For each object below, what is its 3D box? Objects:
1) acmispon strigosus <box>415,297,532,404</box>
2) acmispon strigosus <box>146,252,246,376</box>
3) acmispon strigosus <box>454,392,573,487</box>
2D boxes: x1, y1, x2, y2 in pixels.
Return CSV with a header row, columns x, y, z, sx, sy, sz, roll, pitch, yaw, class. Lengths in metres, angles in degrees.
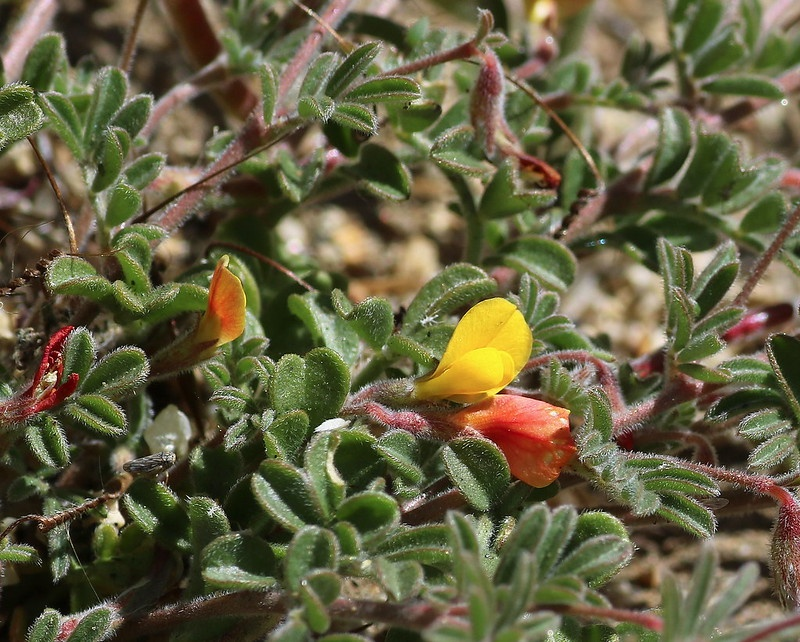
x,y,z,sx,sy,sz,roll,pitch,yaw,class
0.113,0.055,1.240,0.174,0.061,0.110,-32,67,12,acmispon strigosus
-0.294,-0.002,1.245,0.065,0.258,0.099,11,63,-27,acmispon strigosus
0.164,0.177,1.277,0.178,0.082,0.111,24,64,17,acmispon strigosus
